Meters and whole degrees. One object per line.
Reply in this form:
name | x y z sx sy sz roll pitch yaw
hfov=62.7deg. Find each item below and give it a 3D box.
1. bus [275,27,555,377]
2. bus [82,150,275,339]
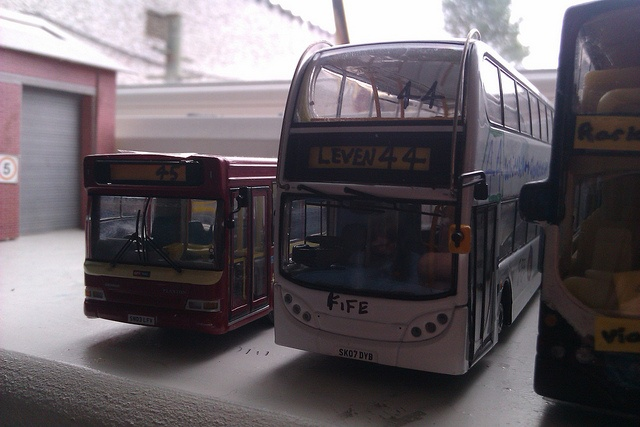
bus | 1.470 -0.325 8.714 3.105 4.929 3.796 7 10 31
bus | -2.136 0.444 11.123 2.981 3.005 5.410 2 2 10
